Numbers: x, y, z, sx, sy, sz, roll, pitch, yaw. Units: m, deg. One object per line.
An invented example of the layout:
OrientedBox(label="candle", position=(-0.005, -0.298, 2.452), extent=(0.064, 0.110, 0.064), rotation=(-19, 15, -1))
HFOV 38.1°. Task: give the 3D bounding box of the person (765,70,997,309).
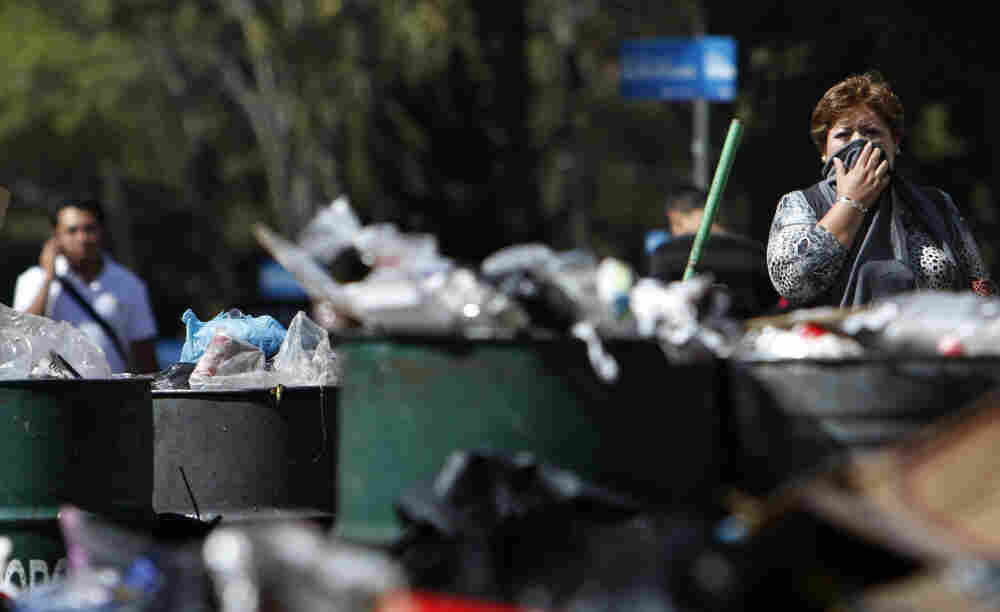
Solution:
OrientedBox(label="person", position=(2.084, -0.605, 7.957), extent=(1.181, 1.130, 0.799), rotation=(1, 26, 8))
